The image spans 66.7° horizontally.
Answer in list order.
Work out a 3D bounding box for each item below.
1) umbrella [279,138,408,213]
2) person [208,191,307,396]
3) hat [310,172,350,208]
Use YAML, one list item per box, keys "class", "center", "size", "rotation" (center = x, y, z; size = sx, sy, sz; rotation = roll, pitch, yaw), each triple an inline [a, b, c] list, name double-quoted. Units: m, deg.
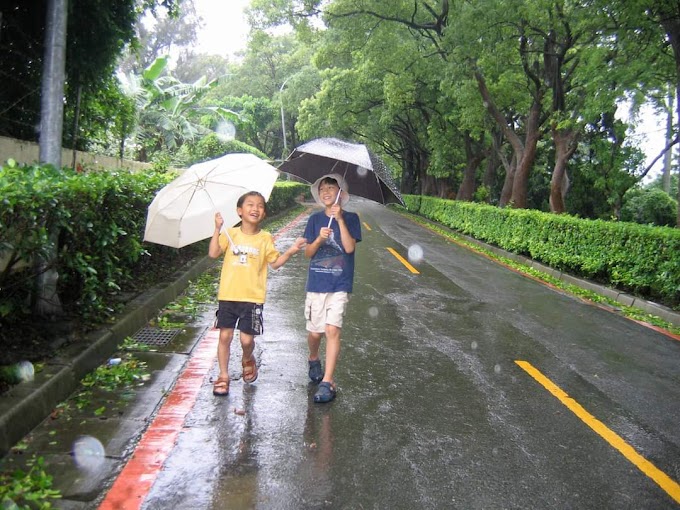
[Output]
- class: "umbrella"
  center: [-0.042, -0.922, 5.395]
  size: [1.052, 0.379, 1.068]
  rotation: [30, -20, -33]
- class: "person"
  center: [-0.924, 0.370, 5.243]
  size: [0.759, 2.016, 0.527]
  rotation: [-1, 11, -16]
- class: "hat"
  center: [-0.098, -0.661, 5.286]
  size: [0.384, 0.353, 0.357]
  rotation: [2, 11, -1]
